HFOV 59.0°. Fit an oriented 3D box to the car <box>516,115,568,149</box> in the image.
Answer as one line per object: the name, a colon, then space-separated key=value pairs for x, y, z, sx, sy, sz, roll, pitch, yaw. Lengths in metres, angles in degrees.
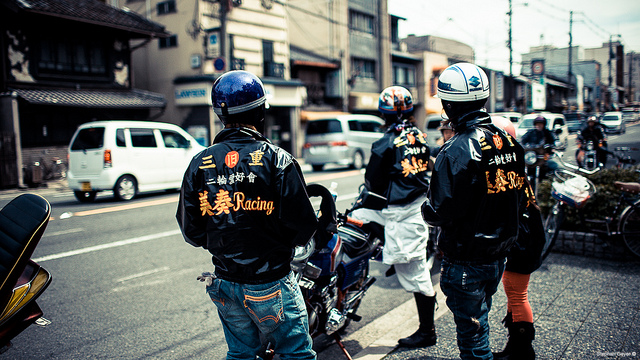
car: x=7.590 y=-1.793 z=19.603 sx=1.758 sy=0.991 sz=0.888 roll=4 pitch=56 yaw=26

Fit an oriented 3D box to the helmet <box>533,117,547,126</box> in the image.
helmet: x=5.776 y=-1.566 z=14.893 sx=0.201 sy=0.251 sz=0.269 roll=15 pitch=-10 yaw=47

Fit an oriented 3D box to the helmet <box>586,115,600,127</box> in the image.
helmet: x=9.560 y=-2.064 z=19.946 sx=0.422 sy=0.365 sz=0.378 roll=2 pitch=11 yaw=33

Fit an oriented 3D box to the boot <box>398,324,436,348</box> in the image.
boot: x=1.638 y=2.649 z=9.634 sx=0.686 sy=0.455 sz=0.262 roll=2 pitch=-2 yaw=6

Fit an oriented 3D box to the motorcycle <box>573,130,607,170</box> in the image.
motorcycle: x=9.614 y=-0.995 z=19.993 sx=1.080 sy=1.240 sz=1.877 roll=1 pitch=7 yaw=23

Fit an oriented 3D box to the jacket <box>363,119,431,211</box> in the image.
jacket: x=1.351 y=-0.244 z=9.937 sx=1.385 sy=1.583 sz=1.119 roll=-10 pitch=11 yaw=-31

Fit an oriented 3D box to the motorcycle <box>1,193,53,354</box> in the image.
motorcycle: x=-4.592 y=1.426 z=8.786 sx=0.972 sy=2.352 sz=0.464 roll=-10 pitch=10 yaw=-28

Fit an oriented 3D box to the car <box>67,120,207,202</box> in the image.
car: x=-5.606 y=-0.402 z=16.669 sx=2.580 sy=2.212 sz=4.952 roll=4 pitch=10 yaw=37

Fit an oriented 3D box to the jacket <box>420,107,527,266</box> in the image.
jacket: x=2.334 y=0.098 z=8.548 sx=1.584 sy=2.319 sz=0.505 roll=-7 pitch=10 yaw=-17
